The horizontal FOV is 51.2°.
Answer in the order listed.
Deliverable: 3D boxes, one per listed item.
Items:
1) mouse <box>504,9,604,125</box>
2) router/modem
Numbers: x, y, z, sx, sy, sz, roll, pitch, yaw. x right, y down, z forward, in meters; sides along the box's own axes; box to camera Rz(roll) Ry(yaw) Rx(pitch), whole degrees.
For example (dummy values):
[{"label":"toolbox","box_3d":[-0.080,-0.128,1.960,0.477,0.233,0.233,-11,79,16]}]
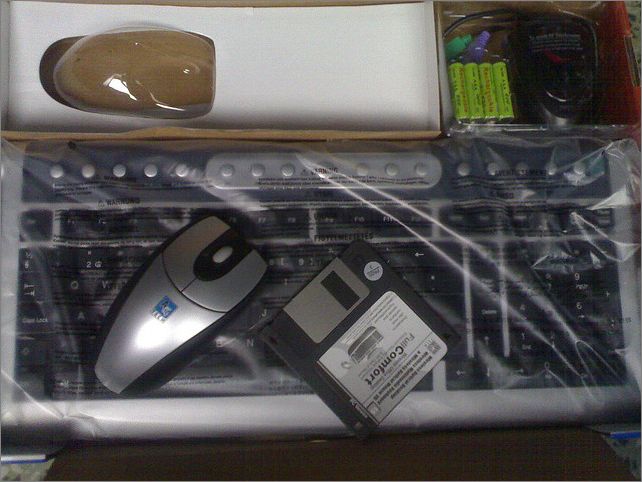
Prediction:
[{"label":"mouse","box_3d":[0.406,-0.297,1.154,0.140,0.111,0.179,2,53,-4]},{"label":"router/modem","box_3d":[0.054,0.140,1.007,0.278,0.065,0.277,44,88,2]}]
